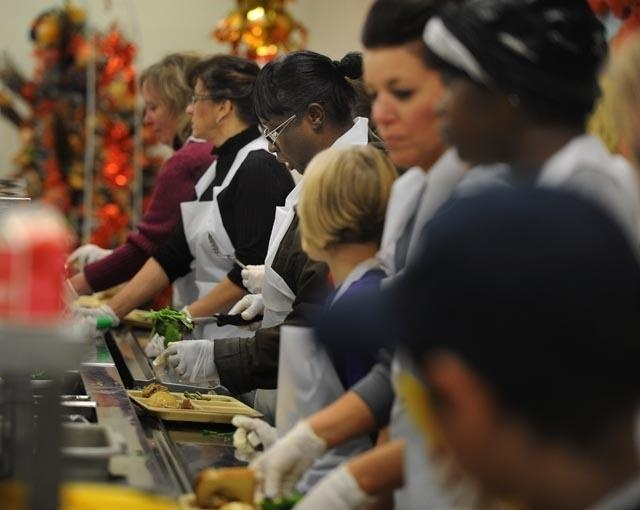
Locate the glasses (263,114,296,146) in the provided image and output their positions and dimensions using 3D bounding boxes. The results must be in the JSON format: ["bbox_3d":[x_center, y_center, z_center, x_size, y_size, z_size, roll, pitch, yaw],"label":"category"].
[{"bbox_3d":[-0.101,-0.319,1.676,0.063,0.020,0.061,-39,6,2],"label":"glasses"}]

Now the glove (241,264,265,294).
[{"bbox_3d":[-0.218,0.070,2.194,0.079,0.115,0.108,-2,11,-6],"label":"glove"}]

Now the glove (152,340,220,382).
[{"bbox_3d":[-0.397,0.315,1.978,0.160,0.063,0.132,-4,47,17],"label":"glove"}]

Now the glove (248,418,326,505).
[{"bbox_3d":[-0.052,0.355,1.167,0.130,0.042,0.097,-40,15,-3],"label":"glove"}]

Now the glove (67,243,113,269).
[{"bbox_3d":[-1.104,0.010,3.180,0.117,0.116,0.095,24,16,23],"label":"glove"}]
